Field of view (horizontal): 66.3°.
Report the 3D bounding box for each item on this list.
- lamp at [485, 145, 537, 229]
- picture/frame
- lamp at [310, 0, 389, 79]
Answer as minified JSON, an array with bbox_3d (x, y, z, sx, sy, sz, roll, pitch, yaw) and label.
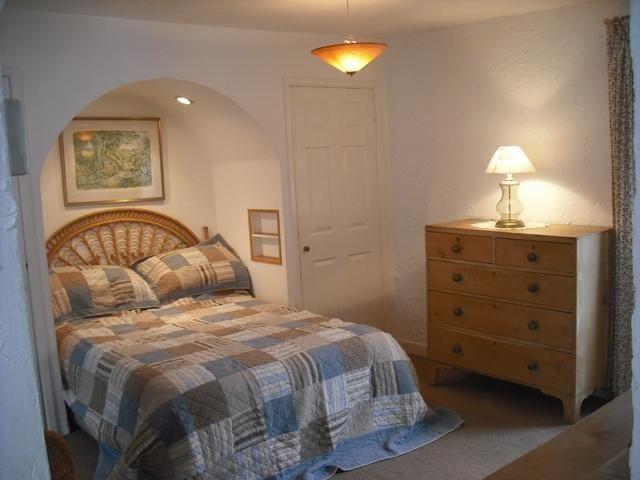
[{"bbox_3d":[1.455,-0.419,3.736,0.334,0.594,0.477,3,11,23],"label":"lamp"},{"bbox_3d":[-1.916,-0.703,4.381,0.854,0.725,0.065,-5,4,-39],"label":"picture/frame"},{"bbox_3d":[0.172,-1.398,3.462,0.444,0.520,1.059,-1,10,0],"label":"lamp"}]
